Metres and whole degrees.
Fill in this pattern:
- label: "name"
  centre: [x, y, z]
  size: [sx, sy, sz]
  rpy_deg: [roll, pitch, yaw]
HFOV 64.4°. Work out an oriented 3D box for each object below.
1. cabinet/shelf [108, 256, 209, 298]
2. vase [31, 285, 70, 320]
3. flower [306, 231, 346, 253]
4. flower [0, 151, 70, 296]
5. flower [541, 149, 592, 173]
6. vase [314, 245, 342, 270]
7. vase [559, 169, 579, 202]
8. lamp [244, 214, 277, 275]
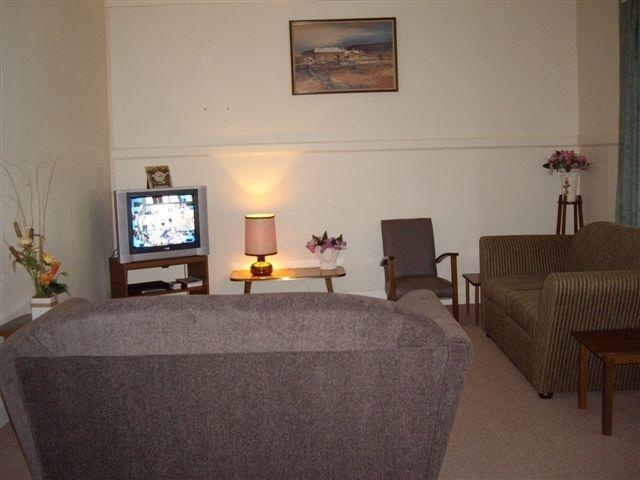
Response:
- label: "cabinet/shelf"
  centre: [-1.460, 0.369, 4.830]
  size: [0.762, 0.509, 0.411]
  rpy_deg: [-7, 17, -33]
- label: "vase"
  centre: [-1.806, 0.423, 3.528]
  size: [0.245, 0.238, 0.182]
  rpy_deg: [5, 0, 10]
- label: "flower"
  centre: [0.091, 0.019, 5.186]
  size: [0.364, 0.217, 0.286]
  rpy_deg: [2, 13, 14]
- label: "flower"
  centre: [-2.100, -0.012, 3.928]
  size: [0.384, 1.231, 1.202]
  rpy_deg: [-7, 13, -25]
- label: "flower"
  centre: [2.362, -0.778, 5.091]
  size: [0.337, 0.166, 0.341]
  rpy_deg: [4, 12, 44]
- label: "vase"
  centre: [0.100, 0.126, 5.245]
  size: [0.326, 0.300, 0.185]
  rpy_deg: [0, 1, -3]
- label: "vase"
  centre: [2.428, -0.548, 5.080]
  size: [0.157, 0.310, 0.191]
  rpy_deg: [2, 12, 14]
- label: "lamp"
  centre: [-0.563, 0.033, 5.113]
  size: [0.295, 0.575, 0.478]
  rpy_deg: [-3, 12, -7]
